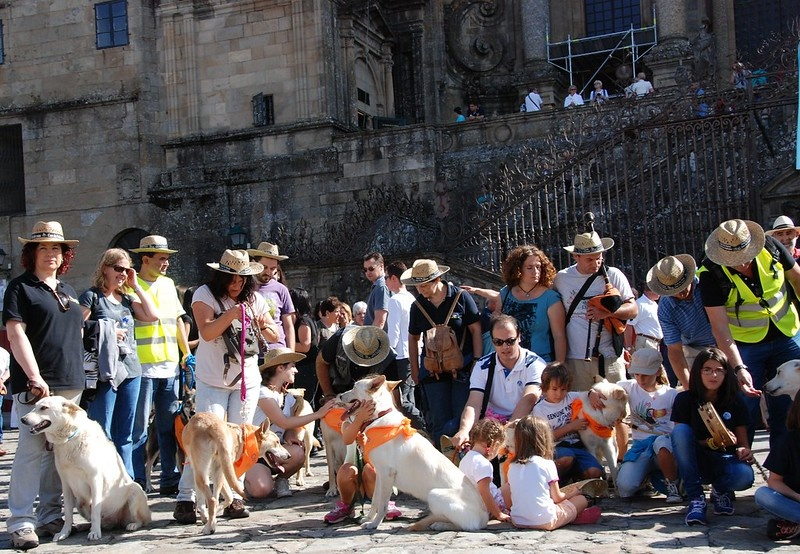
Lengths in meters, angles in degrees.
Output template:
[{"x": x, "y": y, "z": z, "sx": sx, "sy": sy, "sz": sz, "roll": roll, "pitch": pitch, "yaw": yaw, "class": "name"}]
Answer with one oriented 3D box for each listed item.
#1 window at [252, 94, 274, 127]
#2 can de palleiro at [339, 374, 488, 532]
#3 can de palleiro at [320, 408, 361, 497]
[{"x": -3.556, "y": -4.403, "z": 34.489, "sx": 0.901, "sy": 0.886, "sz": 0.459, "roll": -1, "pitch": -2, "yaw": 44, "class": "window"}, {"x": -0.158, "y": 2.324, "z": 16.949, "sx": 2.441, "sy": 2.078, "sz": 1.310, "roll": 10, "pitch": -5, "yaw": 7, "class": "can de palleiro"}, {"x": -0.920, "y": 2.383, "z": 18.162, "sx": 0.382, "sy": 1.329, "sz": 0.994, "roll": -3, "pitch": 7, "yaw": 2, "class": "can de palleiro"}]
